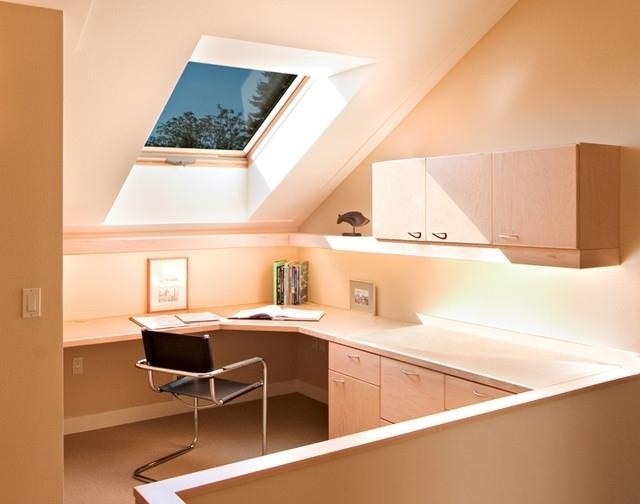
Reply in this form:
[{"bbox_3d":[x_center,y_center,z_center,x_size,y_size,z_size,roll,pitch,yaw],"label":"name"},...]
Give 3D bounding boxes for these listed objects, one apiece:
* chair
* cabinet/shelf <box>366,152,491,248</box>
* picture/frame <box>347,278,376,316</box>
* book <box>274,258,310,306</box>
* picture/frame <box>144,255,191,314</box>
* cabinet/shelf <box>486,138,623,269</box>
[{"bbox_3d":[-0.789,0.989,3.102,0.690,0.986,0.755,4,2,39],"label":"chair"},{"bbox_3d":[0.607,-0.290,2.886,0.820,0.490,0.283,-1,1,-13],"label":"cabinet/shelf"},{"bbox_3d":[0.335,0.354,3.669,0.031,0.256,0.279,1,0,-35],"label":"picture/frame"},{"bbox_3d":[-0.222,0.275,4.302,0.297,0.523,0.533,0,0,22],"label":"book"},{"bbox_3d":[-1.251,0.262,3.778,0.444,0.605,0.064,0,-2,-26],"label":"picture/frame"},{"bbox_3d":[1.146,-0.234,2.399,0.321,0.595,0.574,-3,4,-31],"label":"cabinet/shelf"}]
